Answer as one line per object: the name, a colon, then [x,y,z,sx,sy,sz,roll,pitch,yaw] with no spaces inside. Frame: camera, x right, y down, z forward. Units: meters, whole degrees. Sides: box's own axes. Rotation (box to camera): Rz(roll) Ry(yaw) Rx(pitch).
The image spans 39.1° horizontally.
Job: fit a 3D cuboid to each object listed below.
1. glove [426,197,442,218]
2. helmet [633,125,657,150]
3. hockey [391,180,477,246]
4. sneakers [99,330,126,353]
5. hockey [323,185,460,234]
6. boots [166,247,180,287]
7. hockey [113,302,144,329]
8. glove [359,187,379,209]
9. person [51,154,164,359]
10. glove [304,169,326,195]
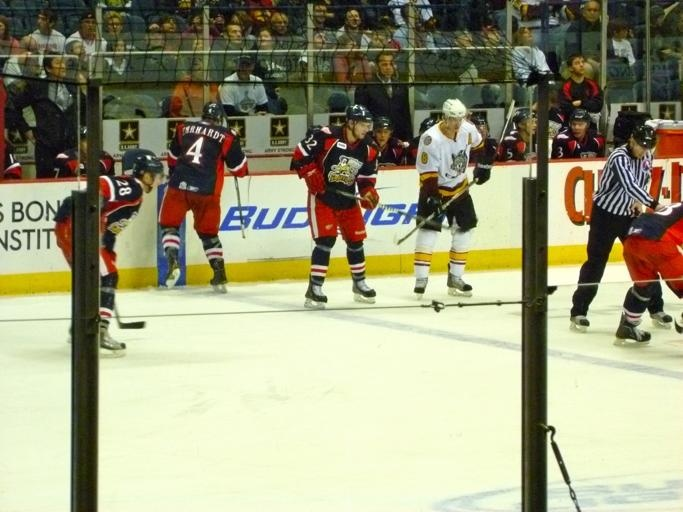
glove: [0.586,-0.305,6.071,0.085,0.120,0.045,1,9,-2]
helmet: [2.053,-0.813,6.577,0.131,0.155,0.160,-15,10,-44]
hockey: [0.634,-0.268,6.326,0.688,0.078,0.079,-35,-29,5]
sneakers: [-1.015,0.378,4.289,0.110,0.121,0.120,-2,9,-14]
hockey: [0.326,-0.292,6.237,0.941,0.109,0.052,21,-14,-22]
boots: [-0.886,0.053,5.082,0.067,0.208,0.147,-9,48,-19]
hockey: [-0.968,0.273,4.402,0.103,0.133,0.018,-6,46,-7]
glove: [0.182,-0.375,6.156,0.105,0.064,0.147,-14,42,12]
person: [-1.008,-0.010,4.305,0.431,0.871,1.419,-1,9,-9]
glove: [-0.169,-0.461,6.186,0.113,0.167,0.048,-13,-11,20]
